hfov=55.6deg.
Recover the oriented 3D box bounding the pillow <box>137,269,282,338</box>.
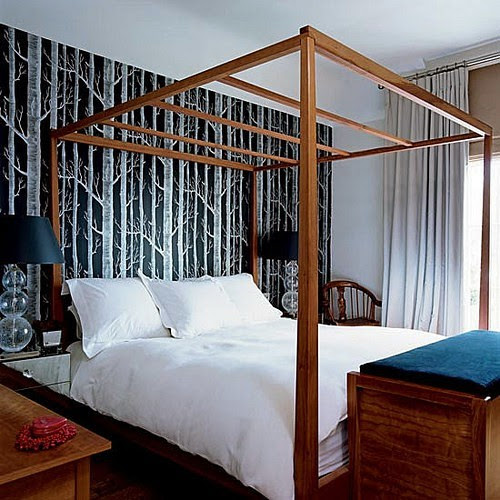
[{"bbox_3d":[-0.296,0.356,3.327,0.438,0.168,0.770,38,15,27],"label":"pillow"}]

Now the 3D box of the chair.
[{"bbox_3d":[0.970,0.543,4.897,0.434,0.637,0.431,-1,-2,-14],"label":"chair"}]
